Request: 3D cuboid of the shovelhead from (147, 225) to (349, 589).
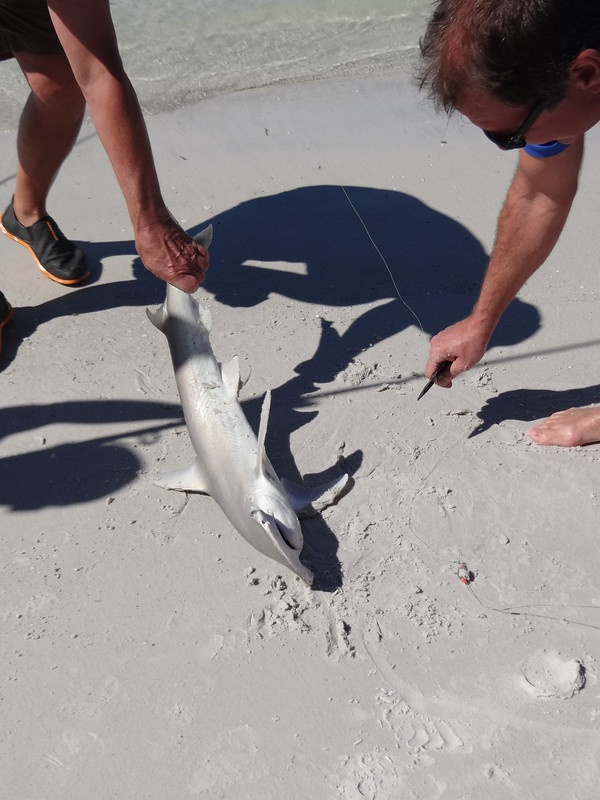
[{"bbox_3d":[-0.342,-0.018,3.430,0.481,0.504,1.598,-6,50,-12],"label":"shovelhead"}]
